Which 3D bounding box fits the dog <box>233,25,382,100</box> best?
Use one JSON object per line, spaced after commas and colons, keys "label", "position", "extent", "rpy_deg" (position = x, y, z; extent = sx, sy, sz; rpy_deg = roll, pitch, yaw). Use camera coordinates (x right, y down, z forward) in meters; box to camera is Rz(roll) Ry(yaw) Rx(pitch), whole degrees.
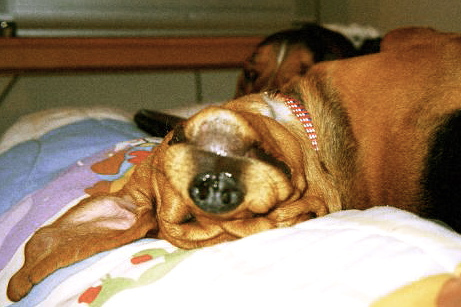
{"label": "dog", "position": [0.202, -0.291, 1.347], "extent": [0.241, 0.235, 0.422], "rpy_deg": [7, 13, 26]}
